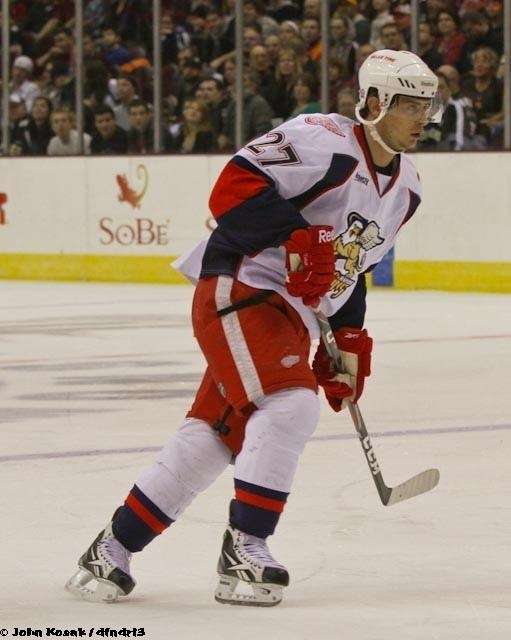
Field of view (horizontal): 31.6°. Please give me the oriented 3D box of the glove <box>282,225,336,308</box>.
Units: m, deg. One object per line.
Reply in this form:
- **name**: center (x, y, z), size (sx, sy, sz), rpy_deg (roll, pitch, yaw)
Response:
- **glove**: center (0.099, -0.106, 1.651), size (0.089, 0.128, 0.056), rpy_deg (0, 8, 1)

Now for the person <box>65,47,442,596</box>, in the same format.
- **person**: center (0.029, -0.023, 1.793), size (0.423, 1.061, 0.698), rpy_deg (5, 10, 32)

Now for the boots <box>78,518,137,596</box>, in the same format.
- **boots**: center (-0.281, 0.456, 1.704), size (0.117, 0.122, 0.101), rpy_deg (0, 8, 1)
